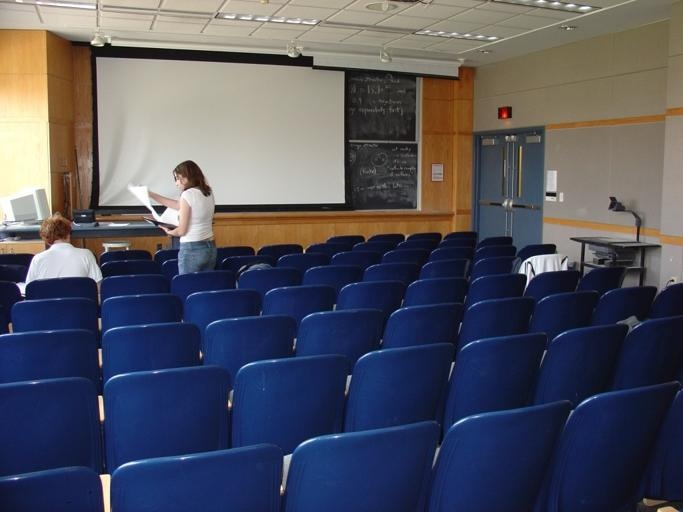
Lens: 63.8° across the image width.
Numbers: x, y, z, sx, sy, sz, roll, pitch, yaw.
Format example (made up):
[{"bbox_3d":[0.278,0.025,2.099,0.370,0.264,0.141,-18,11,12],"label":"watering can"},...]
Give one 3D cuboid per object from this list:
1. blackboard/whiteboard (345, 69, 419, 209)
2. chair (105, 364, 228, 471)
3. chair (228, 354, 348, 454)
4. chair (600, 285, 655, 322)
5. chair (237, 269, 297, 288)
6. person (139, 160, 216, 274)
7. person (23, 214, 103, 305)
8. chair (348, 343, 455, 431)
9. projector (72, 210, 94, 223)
[{"bbox_3d":[0.854,-2.192,10.624,1.454,2.627,0.137,-5,10,-16],"label":"blackboard/whiteboard"},{"bbox_3d":[-0.797,0.659,2.545,0.534,0.558,0.428,3,24,-15],"label":"chair"},{"bbox_3d":[-0.263,0.622,2.698,0.425,0.634,0.489,-1,7,-24],"label":"chair"},{"bbox_3d":[2.109,0.364,4.006,0.179,0.276,0.175,-5,15,-19],"label":"chair"},{"bbox_3d":[-0.635,0.211,4.896,0.370,0.108,0.197,-4,13,-34],"label":"chair"},{"bbox_3d":[-1.416,-0.365,5.241,0.409,1.048,0.262,-7,10,-25],"label":"person"},{"bbox_3d":[-2.428,0.129,4.804,0.574,0.941,0.429,-4,2,-21],"label":"person"},{"bbox_3d":[0.262,0.569,2.866,0.382,0.606,0.468,-2,11,-20],"label":"chair"},{"bbox_3d":[-3.741,-0.559,7.931,0.308,0.242,0.166,1,9,-9],"label":"projector"}]
